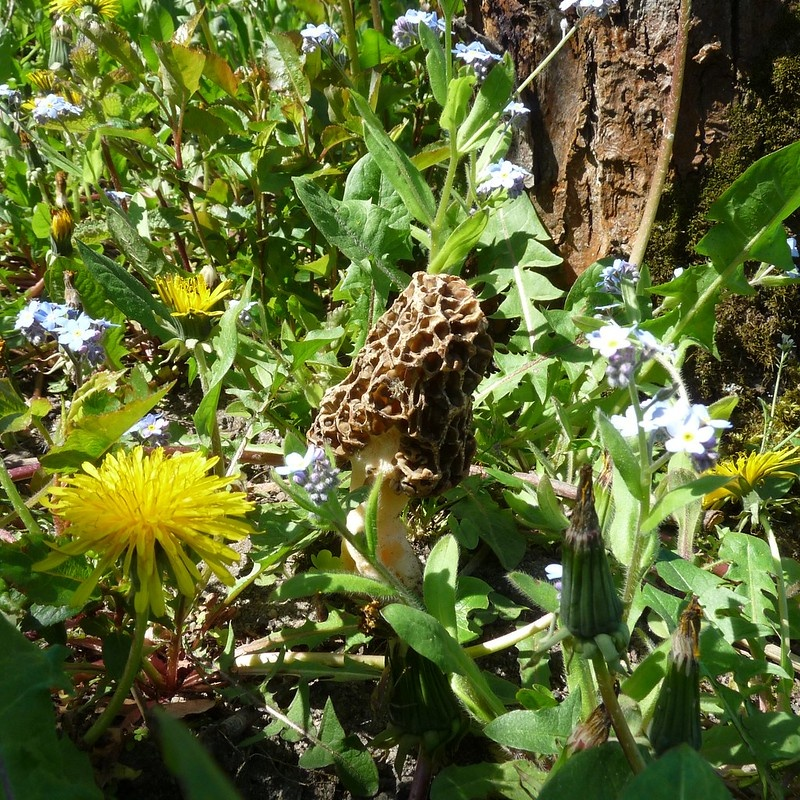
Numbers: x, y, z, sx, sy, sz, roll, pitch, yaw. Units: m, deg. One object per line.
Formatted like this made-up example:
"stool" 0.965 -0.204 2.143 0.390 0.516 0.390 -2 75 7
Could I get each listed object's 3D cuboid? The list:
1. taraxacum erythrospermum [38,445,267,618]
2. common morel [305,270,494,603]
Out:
"taraxacum erythrospermum" -0.491 0.239 1.601 0.423 0.248 0.402 19 5 -3
"common morel" 0.003 0.047 2.248 0.526 0.758 0.491 -6 14 -23
